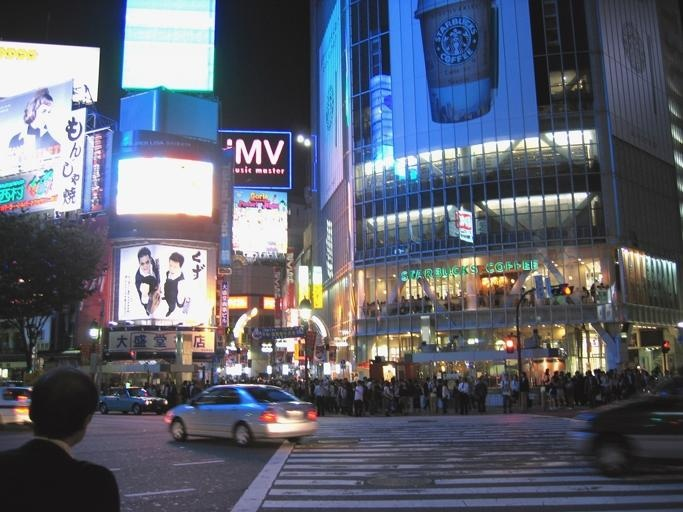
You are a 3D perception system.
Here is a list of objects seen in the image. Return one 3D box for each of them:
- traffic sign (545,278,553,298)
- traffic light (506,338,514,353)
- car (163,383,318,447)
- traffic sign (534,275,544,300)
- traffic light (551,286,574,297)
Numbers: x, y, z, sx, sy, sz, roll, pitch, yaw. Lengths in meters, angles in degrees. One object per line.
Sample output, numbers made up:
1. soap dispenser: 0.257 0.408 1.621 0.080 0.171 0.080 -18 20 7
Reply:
1. traffic sign: 14.968 2.180 50.052 0.396 1.525 1.401 -4 -11 24
2. traffic light: 9.083 4.797 37.159 0.406 0.713 0.926 -2 -11 11
3. car: -3.031 4.715 20.506 4.293 1.730 1.333 -7 -12 32
4. traffic sign: 13.887 2.047 48.437 0.609 1.819 2.027 -3 -11 16
5. traffic light: 11.111 1.636 34.676 0.573 0.535 1.470 1 -11 -8
